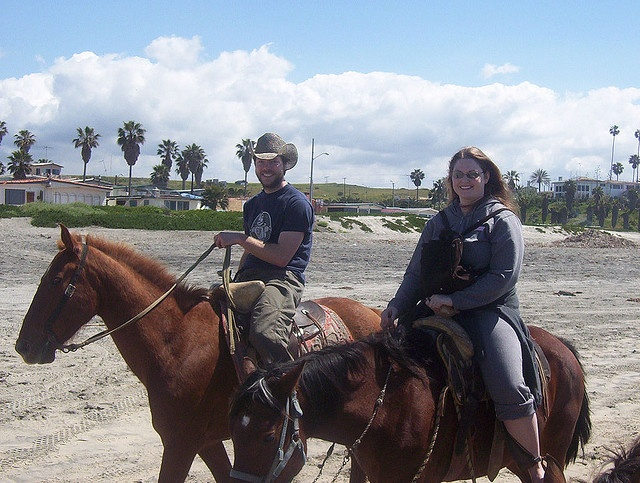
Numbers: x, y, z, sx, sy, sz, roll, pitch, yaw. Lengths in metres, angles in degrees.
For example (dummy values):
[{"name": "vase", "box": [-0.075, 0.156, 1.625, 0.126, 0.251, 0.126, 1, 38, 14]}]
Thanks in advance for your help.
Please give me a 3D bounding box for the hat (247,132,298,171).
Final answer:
[{"name": "hat", "box": [-0.495, -1.029, 7.211, 0.211, 0.463, 0.516, 19, 31, 20]}]
